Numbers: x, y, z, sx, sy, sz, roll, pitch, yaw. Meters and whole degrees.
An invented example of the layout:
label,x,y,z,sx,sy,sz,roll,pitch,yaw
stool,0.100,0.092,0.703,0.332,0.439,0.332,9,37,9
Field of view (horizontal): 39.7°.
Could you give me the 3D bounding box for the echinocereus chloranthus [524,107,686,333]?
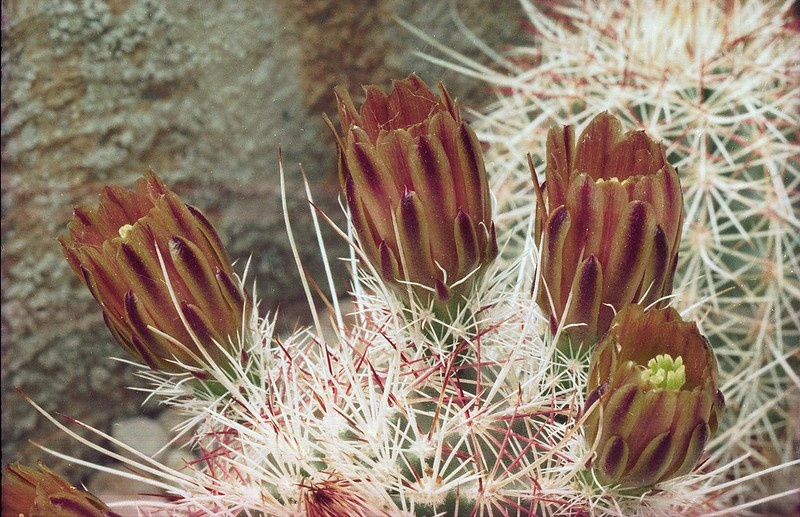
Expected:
label,x,y,z,sx,sy,sz,roll,pitch,yaw
echinocereus chloranthus,0.232,-0.036,1.240,0.164,0.192,0.168,-2,43,9
